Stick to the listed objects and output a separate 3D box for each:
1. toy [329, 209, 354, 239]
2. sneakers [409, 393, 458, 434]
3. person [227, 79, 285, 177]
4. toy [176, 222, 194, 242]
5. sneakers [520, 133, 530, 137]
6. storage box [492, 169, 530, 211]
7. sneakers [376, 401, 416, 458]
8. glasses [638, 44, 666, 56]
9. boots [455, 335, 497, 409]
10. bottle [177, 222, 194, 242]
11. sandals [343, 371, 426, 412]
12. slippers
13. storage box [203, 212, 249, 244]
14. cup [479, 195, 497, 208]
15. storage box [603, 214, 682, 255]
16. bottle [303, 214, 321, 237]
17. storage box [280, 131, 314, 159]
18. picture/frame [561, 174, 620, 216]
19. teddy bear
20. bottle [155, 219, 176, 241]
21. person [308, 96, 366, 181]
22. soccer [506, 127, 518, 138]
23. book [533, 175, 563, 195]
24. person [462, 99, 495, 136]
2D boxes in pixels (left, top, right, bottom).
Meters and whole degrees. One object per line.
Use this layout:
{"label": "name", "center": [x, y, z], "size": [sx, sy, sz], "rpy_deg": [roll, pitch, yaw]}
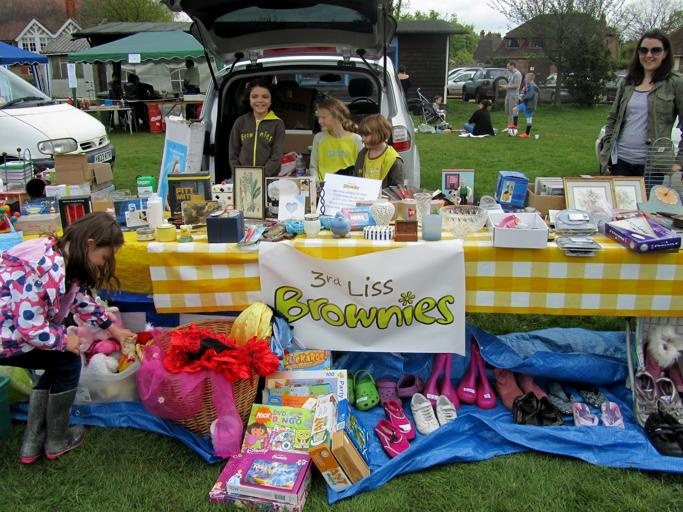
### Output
{"label": "toy", "center": [0.009, -0.200, 3.042], "size": [0.128, 0.165, 0.132], "rpy_deg": [0, 2, 4]}
{"label": "sneakers", "center": [0.534, 0.909, 2.932], "size": [0.179, 0.081, 0.238], "rpy_deg": [-7, 31, -17]}
{"label": "person", "center": [-0.711, -1.064, 4.252], "size": [0.438, 0.775, 0.559], "rpy_deg": [-3, 10, -17]}
{"label": "toy", "center": [-0.928, -0.144, 3.067], "size": [0.100, 0.118, 0.105], "rpy_deg": [0, 2, -5]}
{"label": "sneakers", "center": [4.542, -3.002, 12.666], "size": [0.282, 0.129, 0.098], "rpy_deg": [-3, 10, -24]}
{"label": "storage box", "center": [1.072, -0.439, 3.373], "size": [0.291, 0.304, 0.224], "rpy_deg": [3, 18, 12]}
{"label": "sneakers", "center": [0.292, 0.962, 2.857], "size": [0.144, 0.094, 0.263], "rpy_deg": [-13, 35, -14]}
{"label": "glasses", "center": [2.410, -1.594, 3.945], "size": [0.161, 0.060, 0.079], "rpy_deg": [3, 11, 18]}
{"label": "boots", "center": [0.837, 0.764, 3.145], "size": [0.178, 0.279, 0.379], "rpy_deg": [0, 8, 1]}
{"label": "bottle", "center": [-0.926, -0.143, 3.059], "size": [0.097, 0.115, 0.102], "rpy_deg": [0, 2, -5]}
{"label": "sandals", "center": [0.256, 0.803, 3.095], "size": [0.383, 0.136, 0.223], "rpy_deg": [2, 27, 24]}
{"label": "slippers", "center": [1.449, 0.885, 3.019], "size": [0.193, 0.066, 0.285], "rpy_deg": [-2, 25, -2]}
{"label": "storage box", "center": [-0.686, -0.163, 2.982], "size": [0.182, 0.198, 0.190], "rpy_deg": [1, 11, 2]}
{"label": "cup", "center": [0.938, -0.338, 3.262], "size": [0.090, 0.042, 0.125], "rpy_deg": [-1, 31, 5]}
{"label": "storage box", "center": [1.679, -0.124, 2.828], "size": [0.315, 0.187, 0.275], "rpy_deg": [1, 10, 7]}
{"label": "bottle", "center": [-0.179, -0.181, 3.010], "size": [0.122, 0.124, 0.093], "rpy_deg": [-9, 17, -29]}
{"label": "storage box", "center": [-0.450, -1.170, 5.320], "size": [0.269, 0.174, 0.263], "rpy_deg": [4, 15, 8]}
{"label": "picture/frame", "center": [1.553, -0.373, 3.168], "size": [0.269, 0.279, 0.028], "rpy_deg": [1, -21, -2]}
{"label": "teddy bear", "center": [-1.389, 0.637, 3.050], "size": [0.371, 0.251, 0.579], "rpy_deg": [2, 24, -2]}
{"label": "bottle", "center": [-1.058, -0.153, 3.041], "size": [0.099, 0.095, 0.102], "rpy_deg": [2, 10, 18]}
{"label": "person", "center": [-0.031, -0.971, 4.377], "size": [0.484, 0.731, 0.480], "rpy_deg": [6, 14, 6]}
{"label": "soccer", "center": [4.321, -3.102, 12.829], "size": [0.223, 0.166, 0.312], "rpy_deg": [2, 19, 10]}
{"label": "book", "center": [1.366, -0.461, 3.349], "size": [0.157, 0.057, 0.124], "rpy_deg": [0, 2, -10]}
{"label": "person", "center": [3.584, -3.534, 13.021], "size": [0.768, 0.995, 1.214], "rpy_deg": [0, 10, 2]}
